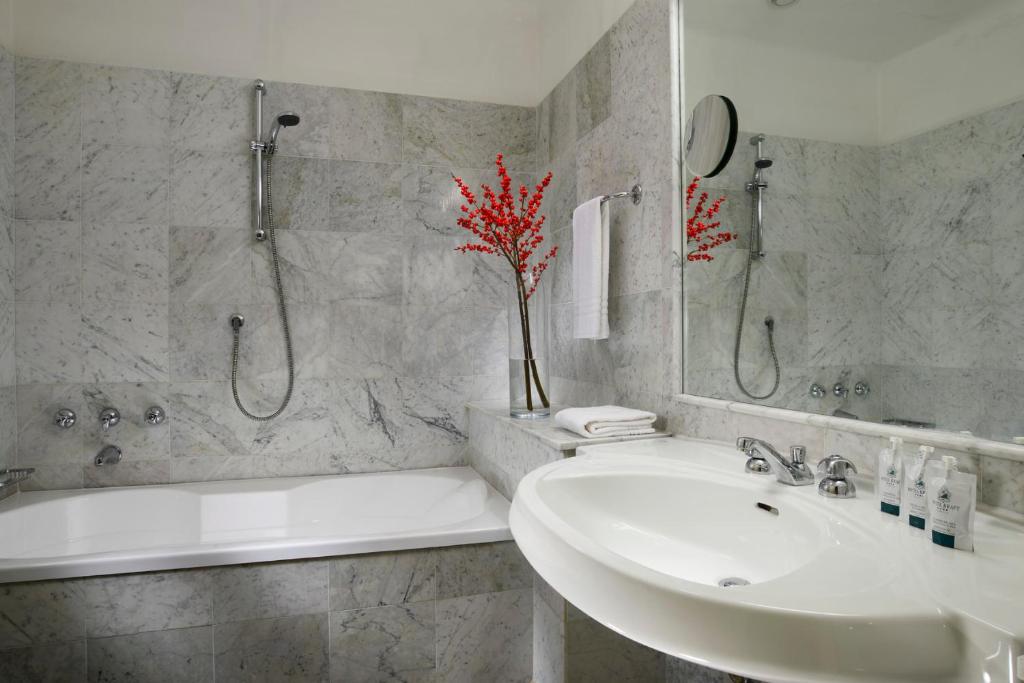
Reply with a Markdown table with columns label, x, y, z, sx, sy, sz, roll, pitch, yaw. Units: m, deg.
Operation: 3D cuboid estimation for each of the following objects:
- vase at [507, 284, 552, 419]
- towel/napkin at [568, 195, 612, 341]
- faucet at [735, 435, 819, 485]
| label | x | y | z | sx | sy | sz | roll | pitch | yaw |
| --- | --- | --- | --- | --- | --- | --- | --- | --- | --- |
| vase | 0.068 | 0.041 | 3.202 | 0.167 | 0.564 | 0.083 | -1 | -2 | 8 |
| towel/napkin | 0.337 | -0.290 | 3.083 | 0.101 | 0.552 | 0.244 | 0 | -2 | -19 |
| faucet | 0.742 | 0.330 | 2.128 | 0.091 | 0.091 | 0.248 | -1 | 2 | -21 |
